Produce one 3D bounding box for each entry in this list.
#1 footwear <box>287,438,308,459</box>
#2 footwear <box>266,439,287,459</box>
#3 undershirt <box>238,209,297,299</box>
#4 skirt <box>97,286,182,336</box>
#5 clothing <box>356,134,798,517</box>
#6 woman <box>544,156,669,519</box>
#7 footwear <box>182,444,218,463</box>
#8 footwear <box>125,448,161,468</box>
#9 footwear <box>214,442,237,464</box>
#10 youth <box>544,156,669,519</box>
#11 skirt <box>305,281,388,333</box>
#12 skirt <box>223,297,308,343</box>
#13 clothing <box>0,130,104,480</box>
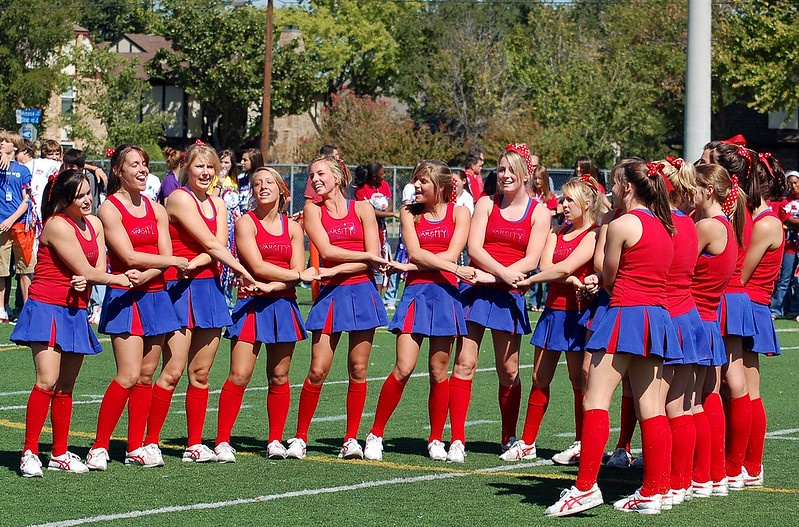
[{"bbox_3d":[-0.919,1.686,9.054,0.134,0.115,0.281,2,-8,1],"label":"footwear"},{"bbox_3d":[-1.104,1.677,9.000,0.195,0.167,0.149,1,7,1],"label":"footwear"},{"bbox_3d":[-1.151,-0.089,9.183,0.521,0.772,0.412,0,-4,-16],"label":"undershirt"},{"bbox_3d":[-2.214,0.430,8.560,0.620,0.491,0.406,2,-10,-13],"label":"skirt"},{"bbox_3d":[1.939,0.456,9.381,3.107,3.279,3.210,3,-4,-30],"label":"clothing"},{"bbox_3d":[1.739,0.576,7.688,0.857,2.711,0.573,0,7,-3],"label":"woman"},{"bbox_3d":[-1.754,1.679,8.860,0.270,0.120,0.152,-1,-2,24],"label":"footwear"},{"bbox_3d":[-2.204,1.689,8.636,0.287,0.127,0.137,-2,-3,11],"label":"footwear"},{"bbox_3d":[-1.537,1.679,8.876,0.187,0.162,0.193,-1,7,-12],"label":"footwear"},{"bbox_3d":[1.740,0.576,7.688,0.856,2.711,0.575,0,7,-3],"label":"youth"},{"bbox_3d":[-0.445,0.411,9.053,0.687,0.459,0.465,0,-16,-10],"label":"skirt"},{"bbox_3d":[-1.192,0.641,9.092,0.625,0.430,0.442,1,-8,-8],"label":"skirt"},{"bbox_3d":[-2.824,0.486,8.448,0.841,2.549,0.494,-2,8,-23],"label":"clothing"}]
